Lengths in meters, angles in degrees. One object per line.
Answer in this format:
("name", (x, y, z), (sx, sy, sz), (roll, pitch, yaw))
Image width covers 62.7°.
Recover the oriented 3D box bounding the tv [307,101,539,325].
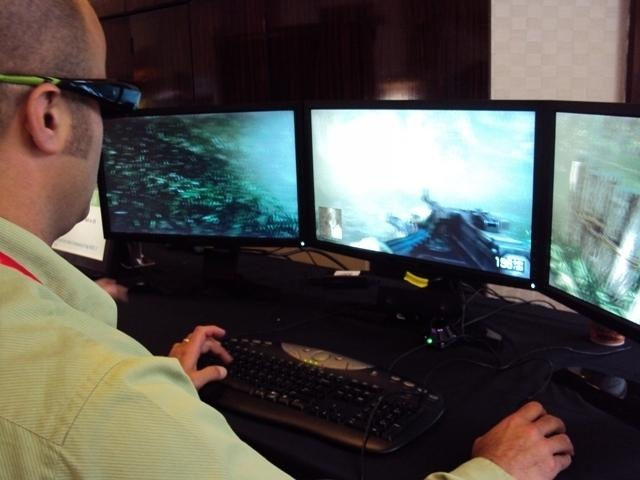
("tv", (0.281, -0.082, 1.488), (0.217, 0.538, 0.757), (-21, 23, -39))
